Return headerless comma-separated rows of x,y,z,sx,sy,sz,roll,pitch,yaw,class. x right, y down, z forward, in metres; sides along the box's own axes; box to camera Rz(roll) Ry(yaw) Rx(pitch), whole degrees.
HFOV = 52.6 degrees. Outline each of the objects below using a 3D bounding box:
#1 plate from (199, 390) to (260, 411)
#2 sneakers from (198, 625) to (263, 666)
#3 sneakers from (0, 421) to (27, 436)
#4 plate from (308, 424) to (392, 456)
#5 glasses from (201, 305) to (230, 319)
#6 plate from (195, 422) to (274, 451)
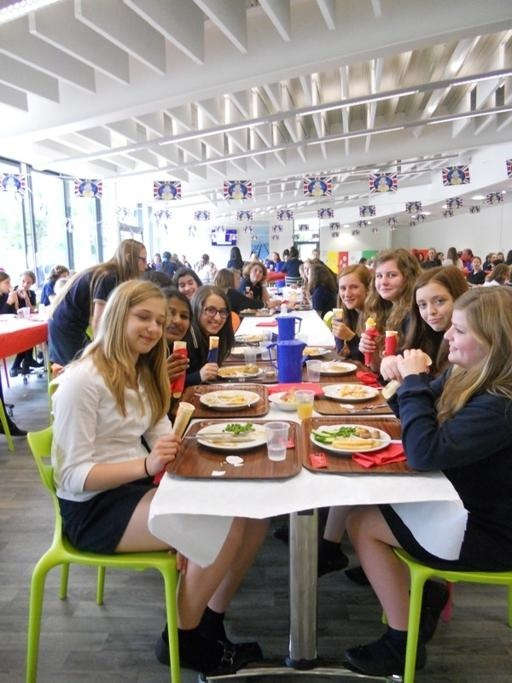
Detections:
-0.084,0.186,1.687,0.181,0.026,0.212,-6,12,-19,plate
-0.059,0.852,1.466,0.231,0.084,0.075,25,-15,-36,sneakers
-1.652,0.599,3.609,0.082,0.090,0.245,1,-1,38,sneakers
0.243,0.244,1.324,0.206,0.033,0.202,-1,11,5,plate
-0.182,-0.136,2.431,0.074,0.022,0.071,7,-18,-18,glasses
-0.065,0.242,1.363,0.177,0.042,0.214,-3,11,-2,plate
